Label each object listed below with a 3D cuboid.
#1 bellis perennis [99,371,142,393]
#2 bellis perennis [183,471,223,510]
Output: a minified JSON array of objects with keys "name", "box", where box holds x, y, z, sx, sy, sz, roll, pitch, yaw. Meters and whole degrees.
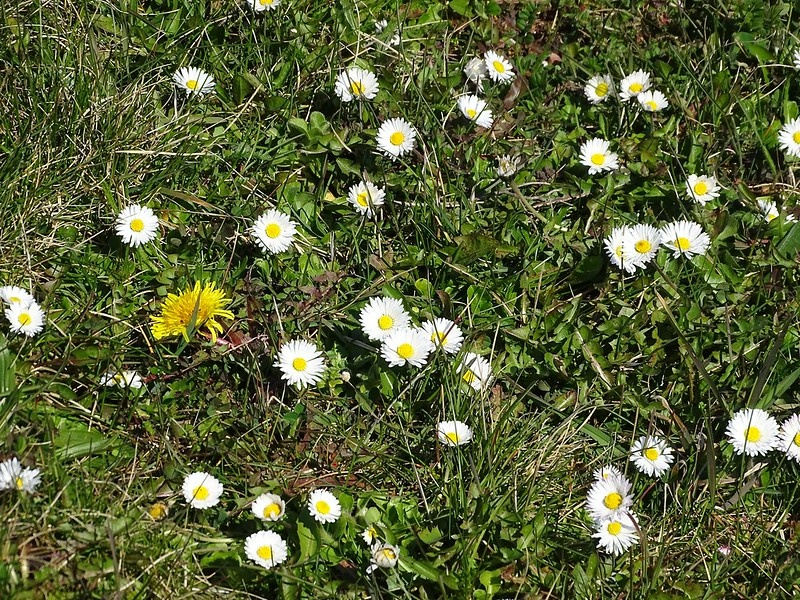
[{"name":"bellis perennis","box":[-1.079,0.315,2.756,0.092,0.043,0.093,21,19,-21]},{"name":"bellis perennis","box":[-0.729,0.686,2.577,0.148,0.124,0.065,26,-17,9]}]
